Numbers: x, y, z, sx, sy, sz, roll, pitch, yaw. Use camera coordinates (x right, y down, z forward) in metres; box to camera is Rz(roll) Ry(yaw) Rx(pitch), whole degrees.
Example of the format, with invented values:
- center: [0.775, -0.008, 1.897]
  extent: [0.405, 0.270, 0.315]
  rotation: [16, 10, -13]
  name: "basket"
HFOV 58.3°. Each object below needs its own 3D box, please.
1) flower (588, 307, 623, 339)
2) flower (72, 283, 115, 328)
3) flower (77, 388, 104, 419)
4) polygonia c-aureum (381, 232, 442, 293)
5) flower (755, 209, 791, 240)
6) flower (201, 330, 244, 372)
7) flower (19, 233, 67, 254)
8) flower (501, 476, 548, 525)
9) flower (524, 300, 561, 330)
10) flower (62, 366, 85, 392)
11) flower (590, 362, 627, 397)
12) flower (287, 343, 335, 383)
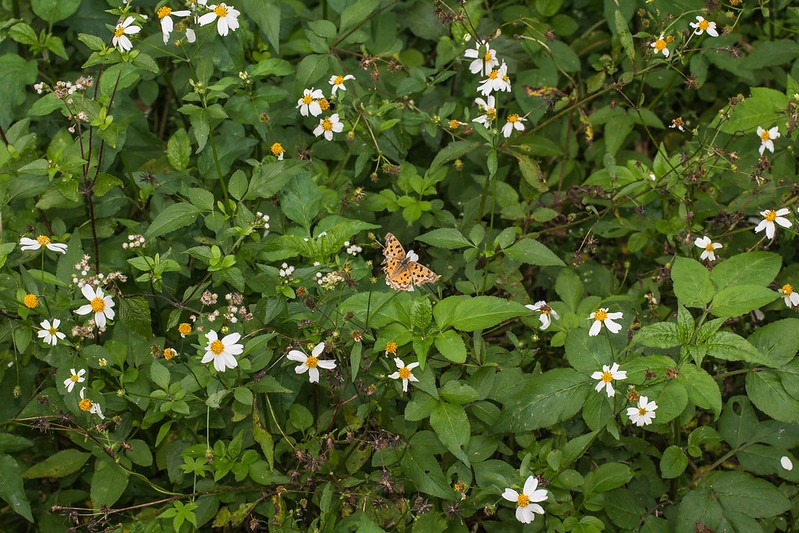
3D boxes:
- center: [1.266, 0.356, 4.375]
  extent: [0.172, 0.094, 0.185]
  rotation: [21, 47, 36]
  name: "flower"
- center: [-1.821, 0.263, 4.266]
  extent: [0.253, 0.129, 0.325]
  rotation: [9, 15, -15]
  name: "flower"
- center: [-1.911, 0.854, 4.408]
  extent: [0.158, 0.201, 0.116]
  rotation: [15, 58, 7]
  name: "flower"
- center: [0.056, 0.077, 4.518]
  extent: [0.336, 0.573, 0.338]
  rotation: [0, 57, -2]
  name: "polygonia c-aureum"
- center: [2.432, -0.274, 4.619]
  extent: [0.144, 0.147, 0.062]
  rotation: [-42, 83, 20]
  name: "flower"
- center: [-1.053, 0.474, 4.114]
  extent: [0.272, 0.075, 0.280]
  rotation: [22, 23, 16]
  name: "flower"
- center: [-2.197, -0.133, 4.356]
  extent: [0.180, 0.191, 0.083]
  rotation: [6, 92, 37]
  name: "flower"
- center: [0.729, 1.322, 4.031]
  extent: [0.227, 0.079, 0.289]
  rotation: [19, 80, 1]
  name: "flower"
- center: [0.912, 0.316, 4.557]
  extent: [0.194, 0.080, 0.204]
  rotation: [-26, 72, -34]
  name: "flower"
- center: [-2.009, 0.681, 4.376]
  extent: [0.142, 0.070, 0.100]
  rotation: [-30, 65, -18]
  name: "flower"
- center: [1.240, 0.667, 4.208]
  extent: [0.206, 0.083, 0.236]
  rotation: [-27, 21, 11]
  name: "flower"
- center: [-0.534, 0.594, 4.227]
  extent: [0.244, 0.075, 0.267]
  rotation: [-29, 75, -20]
  name: "flower"
